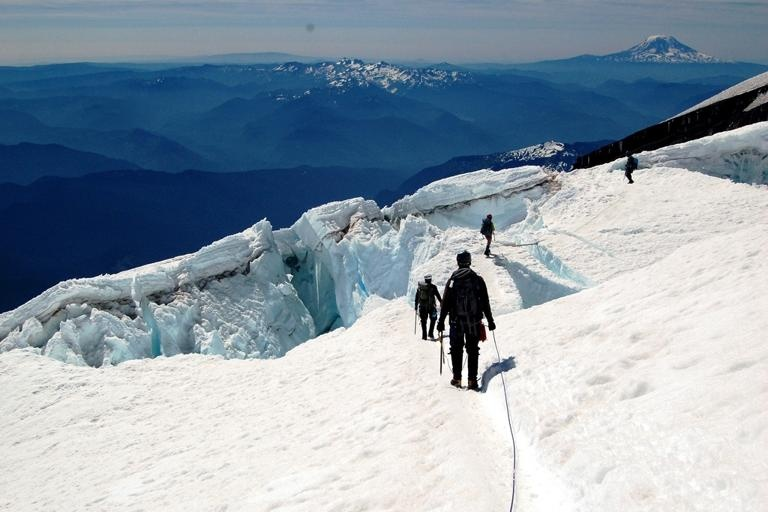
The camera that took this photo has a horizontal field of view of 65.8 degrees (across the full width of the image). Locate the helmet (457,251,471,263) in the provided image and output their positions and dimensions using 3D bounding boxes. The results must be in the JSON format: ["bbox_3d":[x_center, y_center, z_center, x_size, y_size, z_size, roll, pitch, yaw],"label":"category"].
[{"bbox_3d":[1.559,0.017,11.628,0.254,0.178,0.247,-7,0,9],"label":"helmet"}]

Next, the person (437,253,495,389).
[{"bbox_3d":[1.595,1.313,11.663,0.956,2.601,1.147,-5,26,-21],"label":"person"}]
